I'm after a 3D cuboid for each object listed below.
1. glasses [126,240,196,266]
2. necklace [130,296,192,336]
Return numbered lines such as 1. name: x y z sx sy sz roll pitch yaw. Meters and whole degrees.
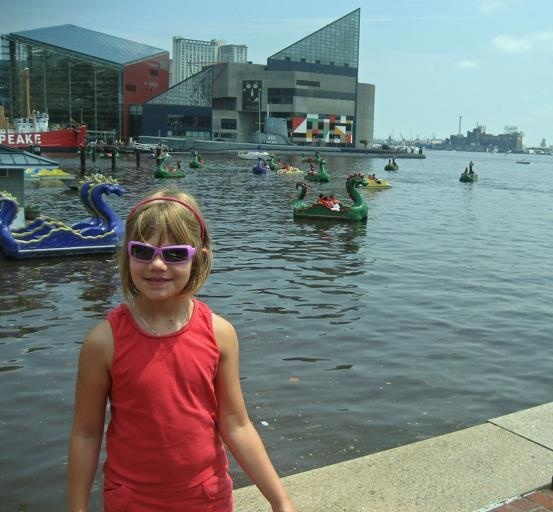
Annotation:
1. glasses: -0.459 -0.015 2.829 0.271 0.090 0.102 0 12 -9
2. necklace: -0.465 0.250 2.818 0.264 0.114 0.176 0 11 -9
